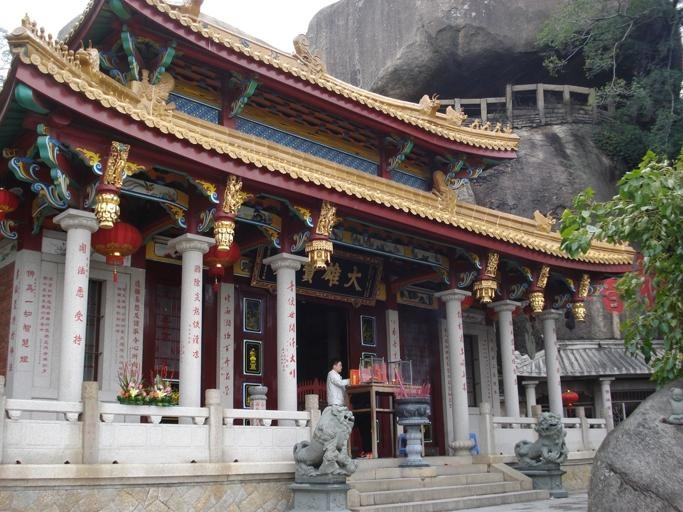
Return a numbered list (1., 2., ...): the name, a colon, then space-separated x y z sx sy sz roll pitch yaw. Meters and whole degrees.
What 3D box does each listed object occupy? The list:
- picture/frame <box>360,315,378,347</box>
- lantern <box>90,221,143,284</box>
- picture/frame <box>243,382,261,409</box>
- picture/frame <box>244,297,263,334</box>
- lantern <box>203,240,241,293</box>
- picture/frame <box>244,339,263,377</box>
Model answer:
1. picture/frame: 0.575 1.680 16.088 0.076 0.758 0.561 -16 -24 38
2. lantern: -3.600 -0.111 11.565 0.519 0.797 0.592 10 -6 -34
3. picture/frame: -1.770 2.672 13.952 0.336 0.475 0.140 3 -16 -17
4. picture/frame: -1.779 1.202 14.353 0.084 0.826 0.611 -17 -20 40
5. lantern: -2.117 0.103 12.691 0.515 0.970 0.580 13 -4 -22
6. picture/frame: -1.751 2.012 14.143 0.618 0.877 0.097 12 -21 -43
